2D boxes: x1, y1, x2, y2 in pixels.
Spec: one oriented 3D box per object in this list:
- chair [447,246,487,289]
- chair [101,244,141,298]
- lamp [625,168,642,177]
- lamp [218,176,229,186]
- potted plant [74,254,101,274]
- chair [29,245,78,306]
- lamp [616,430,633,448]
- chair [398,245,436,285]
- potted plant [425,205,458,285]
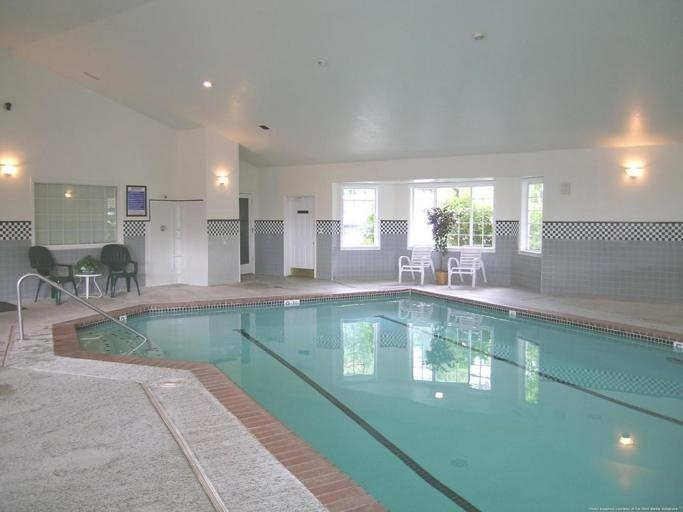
[{"bbox_3d":[3.182,0.277,11.571,0.849,1.167,1.118,1,2,30],"label":"chair"},{"bbox_3d":[-4.907,0.271,10.096,0.694,1.095,1.262,-6,10,-28],"label":"chair"},{"bbox_3d":[5.821,-1.678,9.095,0.183,0.129,0.201,0,-2,-1],"label":"lamp"},{"bbox_3d":[-2.879,-1.850,11.158,0.214,0.208,0.055,12,-2,-36],"label":"lamp"},{"bbox_3d":[-5.166,0.183,9.340,0.412,0.311,0.423,4,-3,-33],"label":"potted plant"},{"bbox_3d":[-5.734,0.323,9.054,0.701,1.103,1.226,-7,10,-34],"label":"chair"},{"bbox_3d":[2.694,1.722,4.327,0.085,0.070,0.108,-9,16,-7],"label":"lamp"},{"bbox_3d":[1.834,0.198,12.033,0.920,1.189,0.977,0,1,33],"label":"chair"},{"bbox_3d":[2.606,-0.357,11.845,0.728,1.820,0.911,1,9,14],"label":"potted plant"}]
